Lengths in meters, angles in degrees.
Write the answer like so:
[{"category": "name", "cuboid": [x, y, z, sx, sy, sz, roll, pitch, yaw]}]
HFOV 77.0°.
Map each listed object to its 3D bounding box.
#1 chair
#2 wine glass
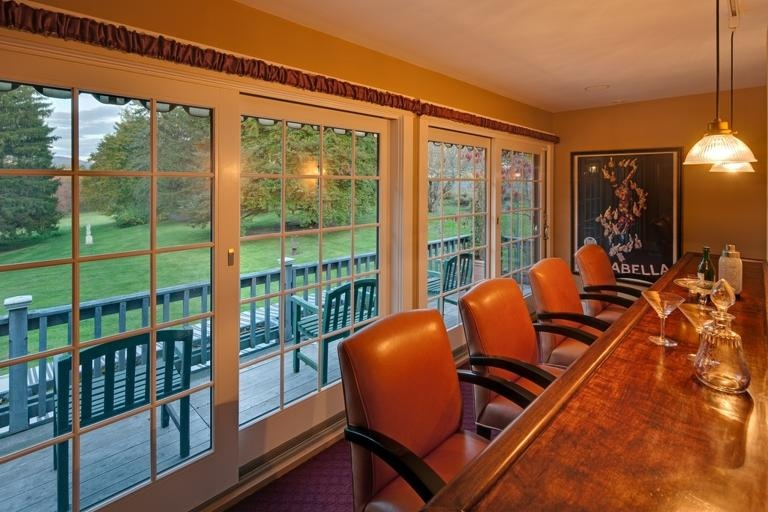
[{"category": "chair", "cuboid": [0.499, 0.596, 2.538, 0.463, 0.593, 1.626, 2, 8, 42]}, {"category": "wine glass", "cuboid": [1.580, 0.297, 2.616, 0.354, 0.264, 0.612, 3, -3, 6]}]
